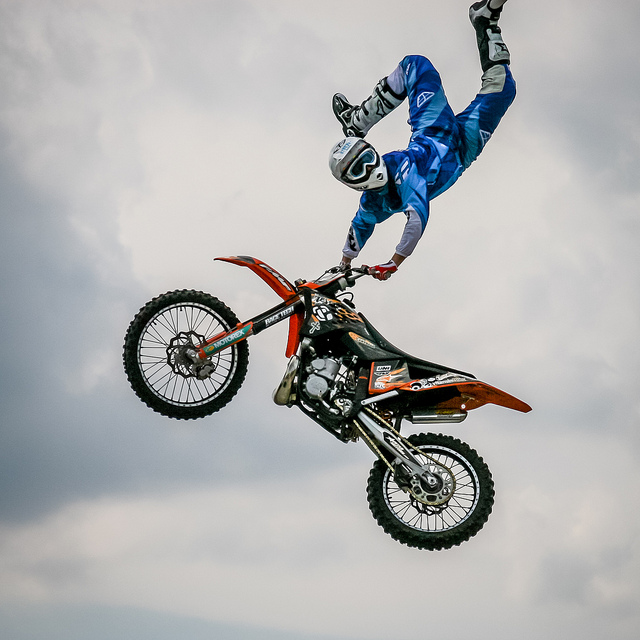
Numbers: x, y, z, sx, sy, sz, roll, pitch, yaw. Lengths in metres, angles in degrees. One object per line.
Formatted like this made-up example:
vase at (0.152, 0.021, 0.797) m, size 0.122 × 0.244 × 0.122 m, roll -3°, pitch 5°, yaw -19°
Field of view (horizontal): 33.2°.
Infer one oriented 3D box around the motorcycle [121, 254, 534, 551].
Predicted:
motorcycle at (0.103, 0.515, 8.455) m, size 2.959 × 1.774 × 1.287 m, roll 11°, pitch -50°, yaw -2°

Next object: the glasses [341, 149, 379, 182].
glasses at (0.326, -1.241, 8.852) m, size 0.162 × 0.225 × 0.302 m, roll 40°, pitch -32°, yaw -19°
